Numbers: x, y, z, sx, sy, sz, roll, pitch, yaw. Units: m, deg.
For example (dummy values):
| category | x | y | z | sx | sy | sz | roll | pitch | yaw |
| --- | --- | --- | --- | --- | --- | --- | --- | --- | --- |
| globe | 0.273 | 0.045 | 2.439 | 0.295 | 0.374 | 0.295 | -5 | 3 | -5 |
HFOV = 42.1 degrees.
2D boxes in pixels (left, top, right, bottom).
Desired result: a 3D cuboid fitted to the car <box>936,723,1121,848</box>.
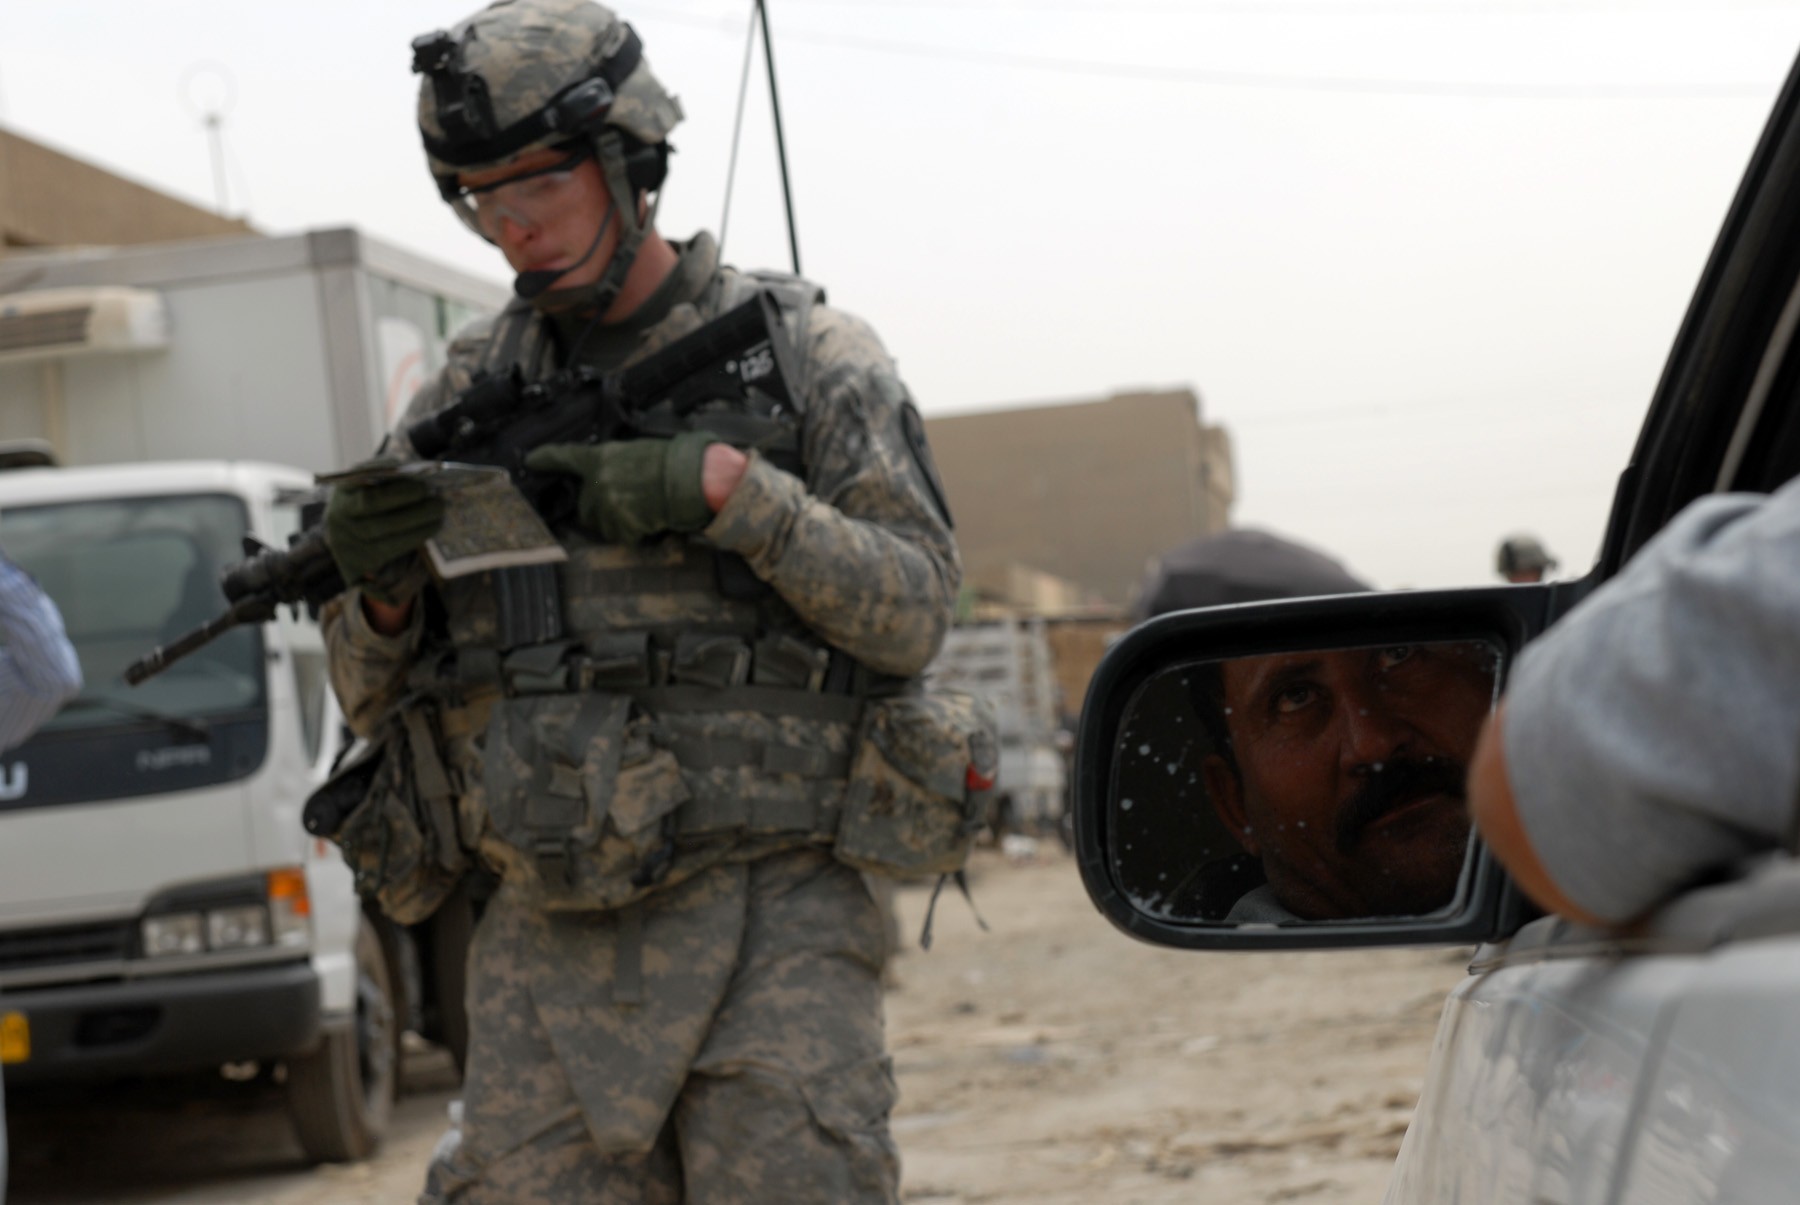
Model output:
| category | x | y | z | sx | sy | sz | roll | pitch | yaw |
| --- | --- | --- | --- | --- | --- | --- | --- | --- | --- |
| car | 0.706 | 1.532 | 20.235 | 1.575 | 1.026 | 1.020 | 3 | -5 | -6 |

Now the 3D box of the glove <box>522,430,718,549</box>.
| category | x | y | z | sx | sy | sz | roll | pitch | yaw |
| --- | --- | --- | --- | --- | --- | --- | --- | --- | --- |
| glove | -0.469 | -0.194 | 3.890 | 0.312 | 0.179 | 0.119 | 1 | 13 | -4 |

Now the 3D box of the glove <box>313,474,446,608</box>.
| category | x | y | z | sx | sy | sz | roll | pitch | yaw |
| --- | --- | --- | --- | --- | --- | --- | --- | --- | --- |
| glove | -0.878 | -0.116 | 3.929 | 0.162 | 0.179 | 0.210 | 11 | 34 | 27 |
